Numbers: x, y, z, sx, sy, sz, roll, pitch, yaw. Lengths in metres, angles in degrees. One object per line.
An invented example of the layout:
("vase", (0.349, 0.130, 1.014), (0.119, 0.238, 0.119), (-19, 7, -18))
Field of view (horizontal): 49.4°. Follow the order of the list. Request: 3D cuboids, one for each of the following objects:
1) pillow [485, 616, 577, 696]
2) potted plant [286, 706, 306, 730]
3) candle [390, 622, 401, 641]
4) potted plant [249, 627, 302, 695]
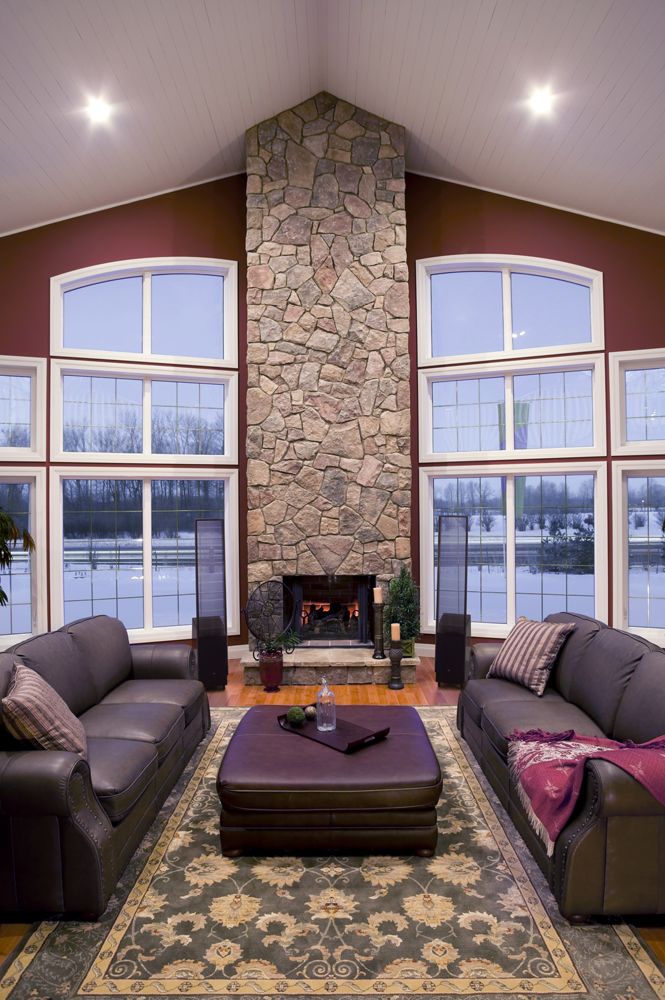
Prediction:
("pillow", (1.074, 0.813, 3.903), (0.104, 0.355, 0.355), (32, -11, -18))
("potted plant", (-0.169, 1.039, 3.407), (0.072, 0.085, 0.081), (1, -10, -7))
("candle", (0.481, 1.022, 5.601), (0.086, 0.157, 0.266), (0, 0, 6))
("potted plant", (-0.466, 1.184, 5.669), (0.310, 0.566, 0.187), (1, 4, -5))
